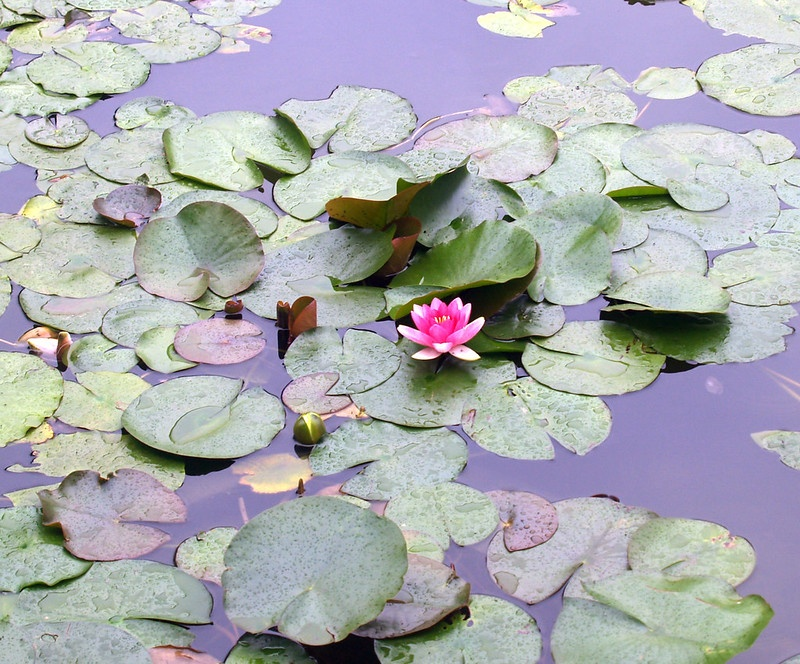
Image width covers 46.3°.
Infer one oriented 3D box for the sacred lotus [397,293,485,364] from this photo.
[{"bbox_3d":[0.115,-0.016,2.339,0.240,0.061,0.124,4,37,17],"label":"sacred lotus"}]
